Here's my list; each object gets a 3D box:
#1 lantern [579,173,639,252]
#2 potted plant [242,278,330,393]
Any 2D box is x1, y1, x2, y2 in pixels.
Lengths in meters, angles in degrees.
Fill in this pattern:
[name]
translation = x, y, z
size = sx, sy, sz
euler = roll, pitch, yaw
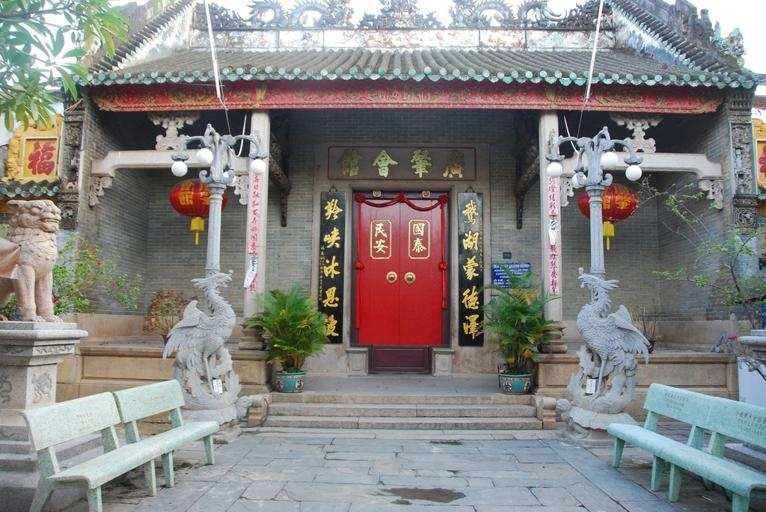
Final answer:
[lantern]
translation = 3.701, -0.732, 11.599
size = 1.051, 1.019, 0.978
euler = 0, -4, 4
[potted plant]
translation = -1.432, 1.268, 10.479
size = 1.143, 1.530, 0.611
euler = -1, 12, -4
